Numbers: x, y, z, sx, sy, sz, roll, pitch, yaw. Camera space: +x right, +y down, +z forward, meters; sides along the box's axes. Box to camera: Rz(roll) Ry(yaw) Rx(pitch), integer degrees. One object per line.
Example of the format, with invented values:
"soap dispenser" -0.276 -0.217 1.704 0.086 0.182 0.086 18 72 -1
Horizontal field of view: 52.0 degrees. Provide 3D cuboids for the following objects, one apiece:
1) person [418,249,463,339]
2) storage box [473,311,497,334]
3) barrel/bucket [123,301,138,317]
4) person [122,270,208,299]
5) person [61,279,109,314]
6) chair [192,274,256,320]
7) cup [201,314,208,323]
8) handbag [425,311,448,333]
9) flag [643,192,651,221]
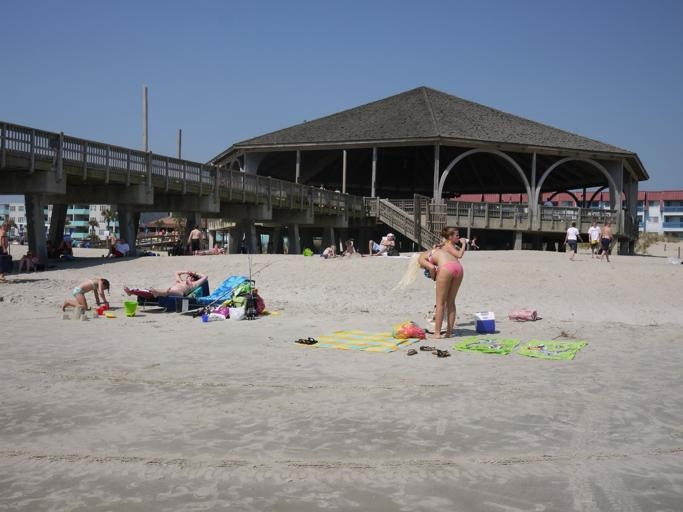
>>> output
"person" 1.691 0.633 12.076 0.733 1.578 0.856 1 8 5
"storage box" 2.571 1.175 12.572 0.477 0.418 0.326 -1 4 3
"barrel/bucket" -4.260 1.054 13.976 0.330 0.248 0.326 -1 -4 0
"person" -3.660 0.667 15.006 1.805 0.648 0.761 4 -4 -33
"person" -5.316 0.772 14.481 1.039 0.596 0.476 -1 0 -35
"chair" -2.484 0.799 14.677 1.258 0.585 1.549 -1 8 -11
"cup" -2.674 1.206 13.566 0.127 0.128 0.123 1 -2 0
"handbag" 1.728 1.197 12.457 0.303 0.399 0.410 -2 -21 10
"flag" 39.579 -6.845 90.434 0.647 2.552 2.571 4 8 23
